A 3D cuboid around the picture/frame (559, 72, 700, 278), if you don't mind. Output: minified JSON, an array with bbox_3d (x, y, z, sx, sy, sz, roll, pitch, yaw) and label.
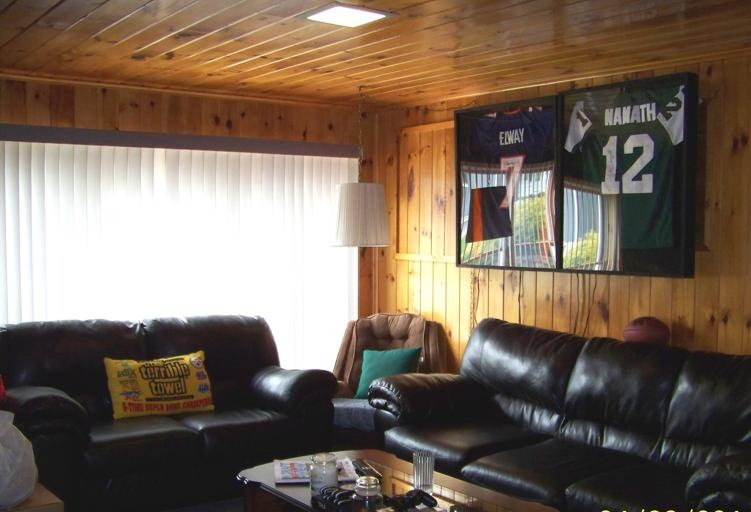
[{"bbox_3d":[1.828,-0.566,4.343,0.939,1.425,0.104,-1,2,41],"label":"picture/frame"}]

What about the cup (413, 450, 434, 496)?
[{"bbox_3d":[0.258,1.159,3.160,0.107,0.250,0.245,-2,1,4],"label":"cup"}]

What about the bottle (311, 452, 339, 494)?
[{"bbox_3d":[-0.285,1.177,3.213,0.182,0.195,0.153,2,-4,-22],"label":"bottle"}]

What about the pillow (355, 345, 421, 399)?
[{"bbox_3d":[0.116,0.964,4.855,0.433,0.390,0.145,-4,-40,26],"label":"pillow"}]

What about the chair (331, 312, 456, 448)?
[{"bbox_3d":[-0.017,1.015,5.180,1.269,1.254,1.040,-2,-15,13],"label":"chair"}]
